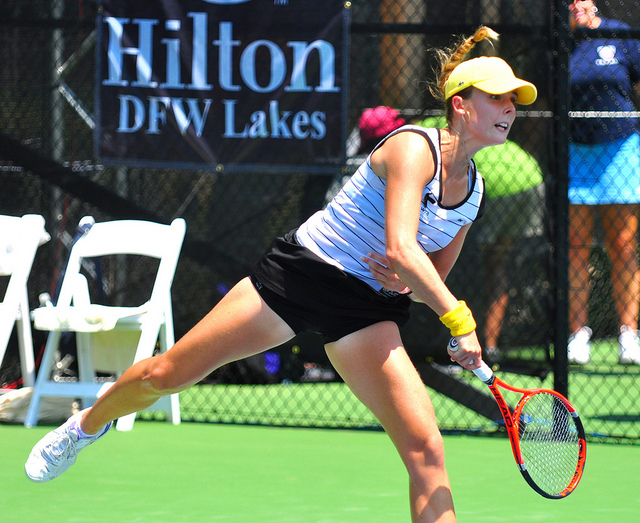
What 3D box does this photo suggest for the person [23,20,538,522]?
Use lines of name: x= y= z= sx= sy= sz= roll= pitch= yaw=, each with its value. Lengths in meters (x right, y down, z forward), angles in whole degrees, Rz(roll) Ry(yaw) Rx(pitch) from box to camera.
person: x=-0.048 y=0.041 z=2.826 sx=1.503 sy=1.549 sz=0.523 roll=3 pitch=6 yaw=26

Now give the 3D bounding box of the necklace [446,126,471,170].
necklace: x=0.491 y=-0.406 z=2.709 sx=0.084 sy=0.154 sz=0.075 roll=1 pitch=5 yaw=11

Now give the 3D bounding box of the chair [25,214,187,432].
chair: x=-1.252 y=0.367 z=4.432 sx=0.659 sy=1.286 sz=0.668 roll=1 pitch=-4 yaw=24

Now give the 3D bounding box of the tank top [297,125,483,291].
tank top: x=0.442 y=-0.207 z=2.809 sx=0.218 sy=0.404 sz=0.284 roll=33 pitch=17 yaw=9
